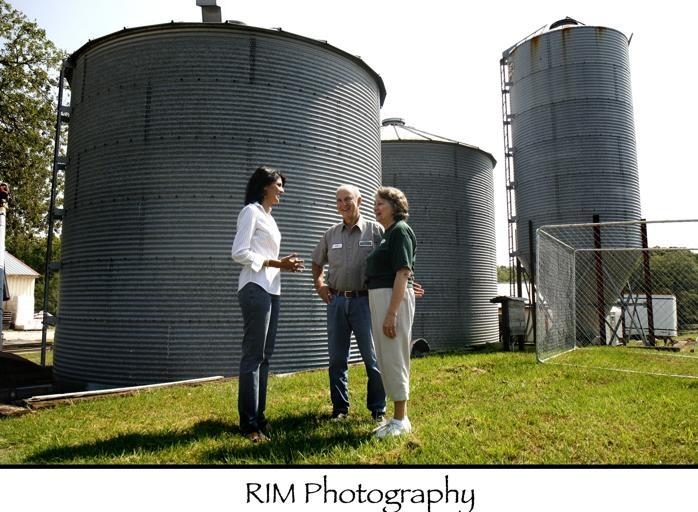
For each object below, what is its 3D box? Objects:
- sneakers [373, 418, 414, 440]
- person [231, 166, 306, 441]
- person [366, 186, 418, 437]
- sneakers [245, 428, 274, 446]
[{"bbox_3d":[0.607,2.317,8.277,0.399,0.174,0.240,-2,-11,-6],"label":"sneakers"},{"bbox_3d":[-1.195,0.604,8.507,0.637,3.611,0.880,3,8,36],"label":"person"},{"bbox_3d":[0.590,0.746,8.390,0.646,3.288,0.843,-1,6,10],"label":"person"},{"bbox_3d":[-1.222,2.438,8.309,0.428,0.303,0.142,-25,-29,30],"label":"sneakers"}]
